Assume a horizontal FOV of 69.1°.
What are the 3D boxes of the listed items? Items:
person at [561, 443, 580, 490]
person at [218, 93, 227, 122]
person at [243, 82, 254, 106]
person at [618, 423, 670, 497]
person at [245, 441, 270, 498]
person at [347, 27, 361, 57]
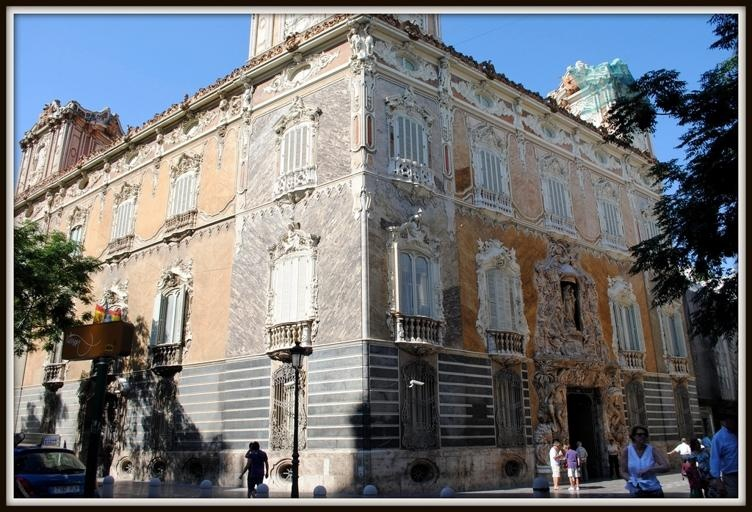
[{"bbox_3d":[7.367,7.983,20.437,0.416,1.422,1.225,-9,-23,18],"label":"person"},{"bbox_3d":[-7.700,-7.236,27.223,0.621,1.512,0.368,-21,-29,40],"label":"person"},{"bbox_3d":[-6.205,-7.625,26.183,0.689,1.154,0.314,-17,-26,33],"label":"person"},{"bbox_3d":[4.863,3.711,9.966,0.754,1.248,0.528,-11,-23,22],"label":"person"},{"bbox_3d":[-3.729,6.644,17.120,0.625,1.580,3.696,3,-23,-11],"label":"person"},{"bbox_3d":[-0.929,-8.887,22.971,0.520,1.267,0.326,-13,-24,26],"label":"person"}]
